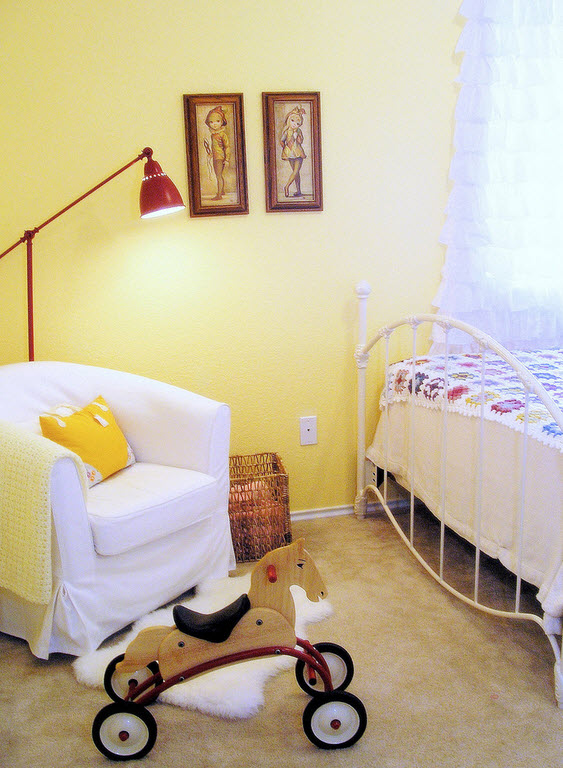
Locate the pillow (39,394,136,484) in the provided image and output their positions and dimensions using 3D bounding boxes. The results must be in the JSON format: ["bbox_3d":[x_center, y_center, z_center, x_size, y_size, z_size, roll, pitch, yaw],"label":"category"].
[{"bbox_3d":[-0.539,0.157,1.746,0.072,0.177,0.200,-19,-1,19],"label":"pillow"}]

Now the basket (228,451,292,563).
[{"bbox_3d":[-0.105,0.379,2.241,0.250,0.379,0.353,-4,8,-6],"label":"basket"}]

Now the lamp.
[{"bbox_3d":[-0.622,-0.416,2.020,0.618,0.692,0.369,-3,9,-10],"label":"lamp"}]
